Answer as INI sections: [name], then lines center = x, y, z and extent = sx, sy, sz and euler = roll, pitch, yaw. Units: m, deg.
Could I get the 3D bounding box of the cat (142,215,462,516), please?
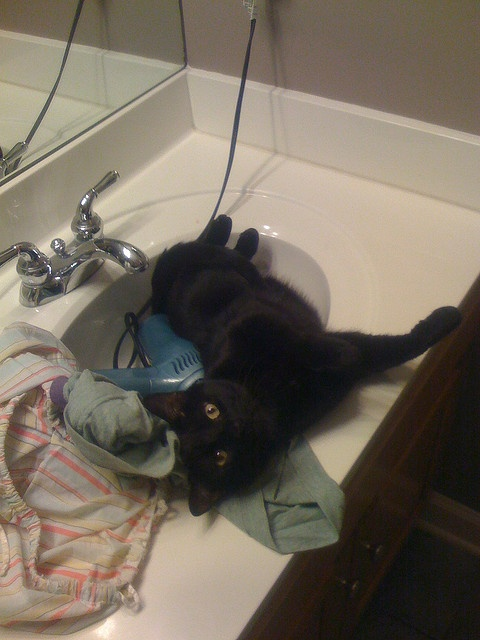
[cat]
center = 0.030, 0.054, 0.606
extent = 0.195, 0.329, 0.197
euler = -46, 10, -17
